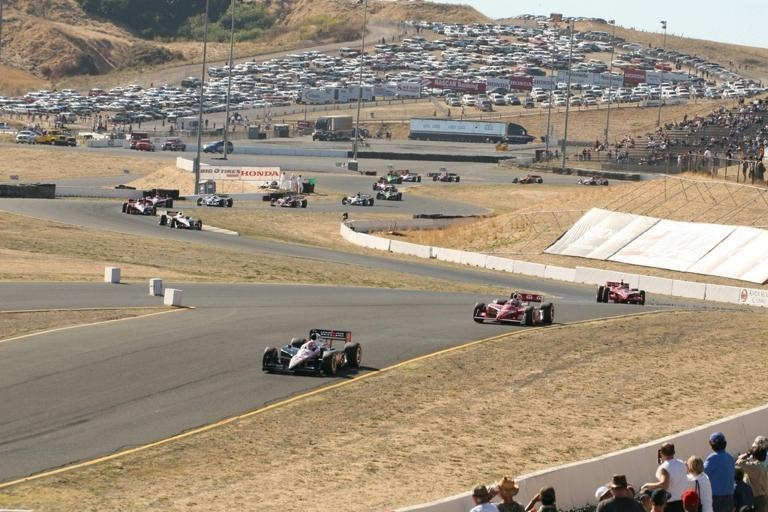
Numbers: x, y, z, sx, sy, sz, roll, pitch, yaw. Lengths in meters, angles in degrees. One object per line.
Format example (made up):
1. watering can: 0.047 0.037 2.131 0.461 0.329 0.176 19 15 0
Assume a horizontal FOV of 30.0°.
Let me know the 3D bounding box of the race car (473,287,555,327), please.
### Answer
1. race car: 8.314 3.339 90.458 4.129 1.496 5.224 4 4 19

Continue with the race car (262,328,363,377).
1. race car: -4.223 5.536 82.707 4.247 1.676 5.567 5 7 22

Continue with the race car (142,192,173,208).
1. race car: -18.679 -4.855 120.100 1.858 0.712 2.475 2 -1 12

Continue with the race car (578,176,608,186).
1. race car: 21.299 -7.641 145.410 1.994 0.761 2.912 1 0 15

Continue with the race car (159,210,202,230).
1. race car: -16.515 -2.812 113.236 1.778 0.786 3.038 2 4 -32

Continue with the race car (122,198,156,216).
1. race car: -19.909 -3.968 117.026 2.001 0.891 3.064 -1 1 -20

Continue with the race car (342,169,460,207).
1. race car: 1.626 -6.731 143.681 4.890 2.388 8.882 0 8 37

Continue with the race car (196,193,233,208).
1. race car: -14.987 -4.827 125.417 2.705 0.713 1.506 4 4 31

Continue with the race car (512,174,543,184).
1. race car: 15.067 -8.057 151.253 3.202 0.873 2.861 0 12 -22
